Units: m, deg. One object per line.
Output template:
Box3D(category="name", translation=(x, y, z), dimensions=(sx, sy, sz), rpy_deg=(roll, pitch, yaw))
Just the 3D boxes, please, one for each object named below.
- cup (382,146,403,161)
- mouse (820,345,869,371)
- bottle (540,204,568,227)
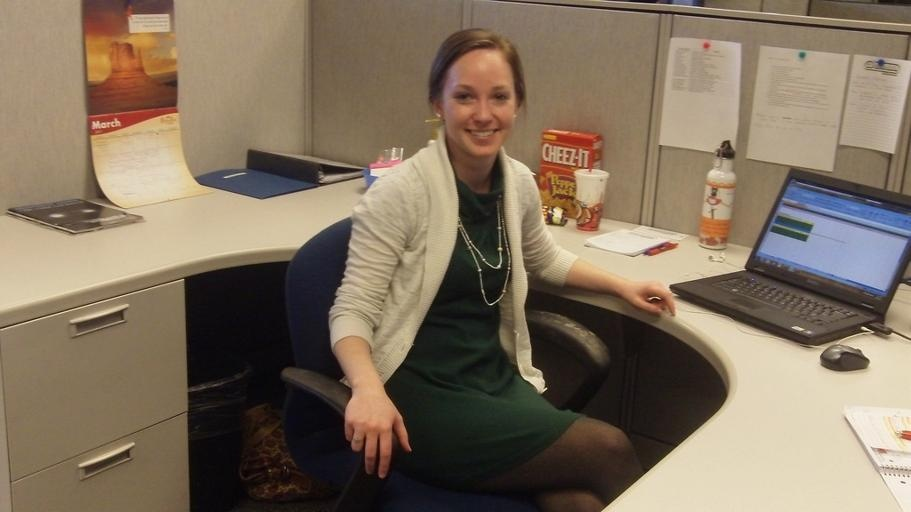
Box3D(category="cup", translation=(-0.265, -0.432, 2.564), dimensions=(0.105, 0.063, 0.049), rpy_deg=(-2, 25, -12))
Box3D(category="mouse", translation=(1.025, 0.267, 1.613), dimensions=(0.112, 0.043, 0.062), rpy_deg=(-4, 15, -18))
Box3D(category="bottle", translation=(0.388, -0.163, 2.369), dimensions=(0.079, 0.033, 0.094), rpy_deg=(10, 15, 10))
